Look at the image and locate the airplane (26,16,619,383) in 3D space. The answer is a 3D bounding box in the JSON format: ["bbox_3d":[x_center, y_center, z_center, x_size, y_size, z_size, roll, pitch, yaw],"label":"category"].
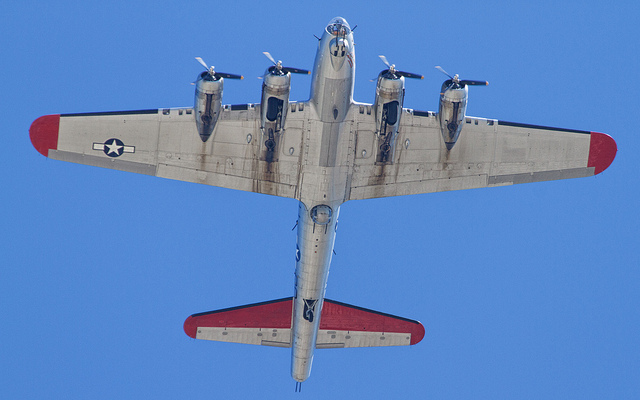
[{"bbox_3d":[-0.035,0.076,65.082,23.992,5.924,16.261,0,-62,-4],"label":"airplane"}]

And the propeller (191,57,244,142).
[{"bbox_3d":[-4.828,-4.051,60.272,1.272,0.722,3.022,15,-76,-5],"label":"propeller"}]
